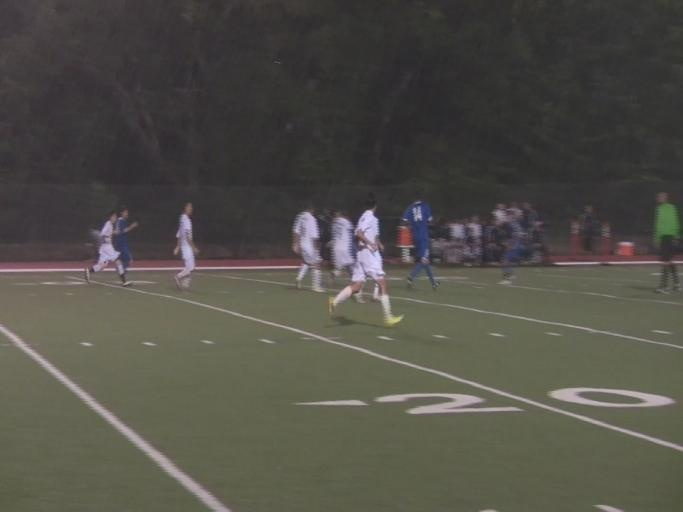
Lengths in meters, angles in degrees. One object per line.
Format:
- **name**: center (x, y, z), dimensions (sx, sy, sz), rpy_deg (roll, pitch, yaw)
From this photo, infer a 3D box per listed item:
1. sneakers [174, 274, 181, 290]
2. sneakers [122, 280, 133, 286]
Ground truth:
- **sneakers**: center (-4.496, 0.720, 19.348), dimensions (0.181, 0.433, 0.155), rpy_deg (-10, -2, -3)
- **sneakers**: center (-6.361, 0.815, 20.882), dimensions (0.163, 0.112, 0.370), rpy_deg (4, -7, -25)
